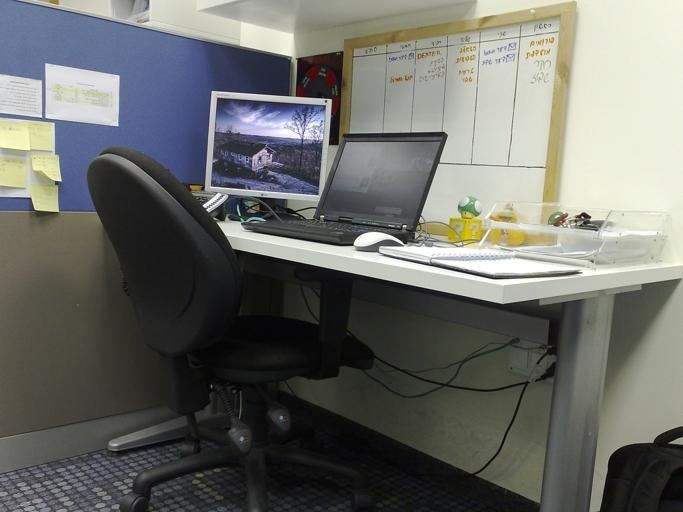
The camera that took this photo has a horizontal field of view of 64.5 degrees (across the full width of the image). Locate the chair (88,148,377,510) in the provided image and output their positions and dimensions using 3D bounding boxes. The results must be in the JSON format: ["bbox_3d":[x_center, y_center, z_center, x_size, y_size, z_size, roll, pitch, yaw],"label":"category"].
[{"bbox_3d":[-0.515,0.184,2.314,1.100,1.548,1.127,-3,9,-29],"label":"chair"}]

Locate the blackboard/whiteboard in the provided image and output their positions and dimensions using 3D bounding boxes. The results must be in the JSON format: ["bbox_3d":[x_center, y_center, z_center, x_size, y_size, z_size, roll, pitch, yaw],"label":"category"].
[{"bbox_3d":[0.463,-0.530,2.019,0.042,0.698,0.887,-7,11,-43],"label":"blackboard/whiteboard"}]

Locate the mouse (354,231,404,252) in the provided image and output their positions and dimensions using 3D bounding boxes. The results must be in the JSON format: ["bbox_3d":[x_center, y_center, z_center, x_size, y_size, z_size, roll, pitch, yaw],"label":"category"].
[{"bbox_3d":[0.117,-0.048,1.574,0.114,0.037,0.065,-4,11,-33],"label":"mouse"}]

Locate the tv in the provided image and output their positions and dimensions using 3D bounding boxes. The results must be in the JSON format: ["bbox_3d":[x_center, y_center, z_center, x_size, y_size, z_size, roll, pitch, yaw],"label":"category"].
[{"bbox_3d":[-0.312,-0.419,2.235,0.606,0.492,0.051,7,4,7],"label":"tv"}]

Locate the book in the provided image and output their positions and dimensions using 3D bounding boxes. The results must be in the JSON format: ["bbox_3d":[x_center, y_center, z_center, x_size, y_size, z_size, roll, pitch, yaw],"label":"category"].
[{"bbox_3d":[0.382,0.000,1.476,0.389,0.036,0.450,-7,14,-40],"label":"book"}]
